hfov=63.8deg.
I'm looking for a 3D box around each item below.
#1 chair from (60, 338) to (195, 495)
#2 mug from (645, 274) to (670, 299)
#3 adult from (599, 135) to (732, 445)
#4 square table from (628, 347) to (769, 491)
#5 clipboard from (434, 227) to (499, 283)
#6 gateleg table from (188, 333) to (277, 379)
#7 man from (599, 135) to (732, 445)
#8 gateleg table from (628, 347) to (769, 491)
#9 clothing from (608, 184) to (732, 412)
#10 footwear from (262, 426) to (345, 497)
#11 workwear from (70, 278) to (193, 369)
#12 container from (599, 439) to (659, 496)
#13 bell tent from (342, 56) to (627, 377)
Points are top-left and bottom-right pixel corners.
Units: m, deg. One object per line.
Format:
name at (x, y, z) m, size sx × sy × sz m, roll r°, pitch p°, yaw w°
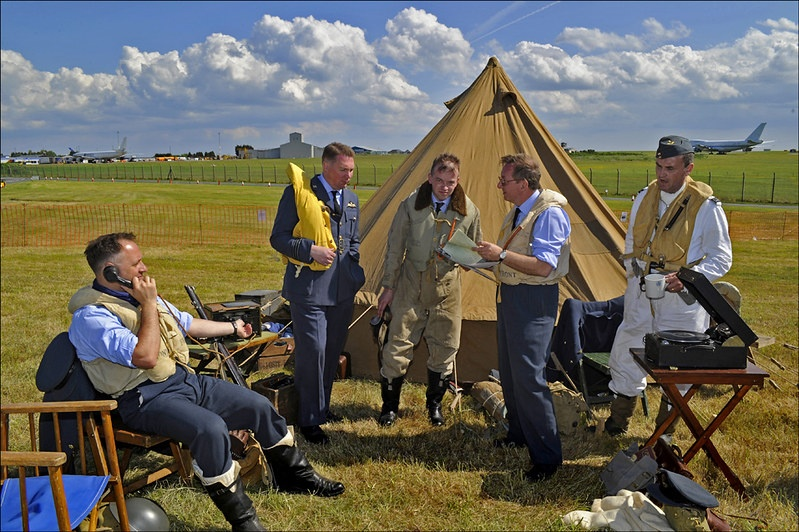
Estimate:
chair at (-2.503, 1.401, 6.409) m, size 1.188 × 1.757 × 1.291 m, roll -3°, pitch 0°, yaw 24°
mug at (2.483, 0.202, 6.278) m, size 0.183 × 0.256 × 0.178 m, roll 5°, pitch 15°, yaw 18°
adult at (2.818, 0.272, 7.018) m, size 0.975 × 3.264 × 1.272 m, roll -8°, pitch 14°, yaw -33°
square table at (2.950, 1.587, 6.555) m, size 1.058 × 1.240 × 1.287 m, roll 0°, pitch 1°, yaw 12°
clipboard at (0.648, -0.113, 6.525) m, size 0.604 × 0.253 × 0.490 m, roll 26°, pitch -27°, yaw 19°
gateleg table at (-2.071, 1.037, 7.655) m, size 0.968 × 0.527 × 0.999 m, roll 12°, pitch -6°, yaw 4°
man at (2.838, 0.280, 7.035) m, size 0.960 × 3.303 × 1.328 m, roll -7°, pitch 12°, yaw -28°
gateleg table at (3.185, 1.616, 6.582) m, size 1.102 × 1.282 × 1.335 m, roll -1°, pitch 0°, yaw 31°
clothing at (2.791, 0.225, 6.927) m, size 1.042 × 2.525 × 0.867 m, roll 7°, pitch 19°, yaw 29°
footwear at (-0.889, 1.911, 6.227) m, size 0.812 × 0.612 × 0.310 m, roll -3°, pitch 18°, yaw 17°
workwear at (-2.465, 0.533, 5.777) m, size 0.681 × 0.539 × 1.135 m, roll 2°, pitch 3°, yaw -2°
container at (2.132, 1.916, 6.066) m, size 0.202 × 0.479 × 0.382 m, roll 32°, pitch 29°, yaw -35°
bell tent at (1.036, -0.692, 9.237) m, size 4.043 × 2.702 × 4.233 m, roll 2°, pitch 6°, yaw 21°
